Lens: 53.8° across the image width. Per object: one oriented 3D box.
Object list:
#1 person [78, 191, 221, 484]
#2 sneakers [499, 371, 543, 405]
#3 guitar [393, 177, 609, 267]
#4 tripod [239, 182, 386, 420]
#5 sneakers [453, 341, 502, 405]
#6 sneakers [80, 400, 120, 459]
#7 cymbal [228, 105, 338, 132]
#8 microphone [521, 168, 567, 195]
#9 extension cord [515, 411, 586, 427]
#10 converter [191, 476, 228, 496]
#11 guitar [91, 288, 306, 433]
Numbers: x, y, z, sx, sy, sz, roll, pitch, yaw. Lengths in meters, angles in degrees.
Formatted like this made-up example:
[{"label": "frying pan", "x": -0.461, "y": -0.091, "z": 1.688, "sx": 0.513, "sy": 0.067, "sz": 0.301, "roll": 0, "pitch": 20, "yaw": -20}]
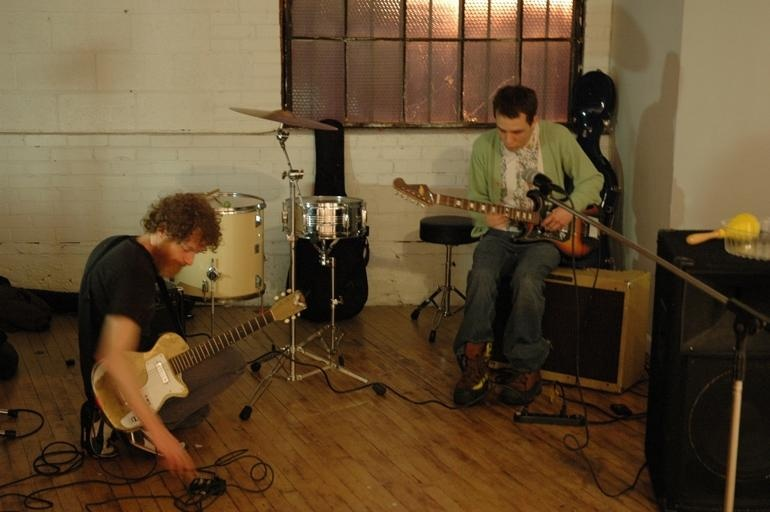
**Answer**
[{"label": "person", "x": -1.306, "y": 0.521, "z": 4.292, "sx": 0.595, "sy": 1.027, "sz": 1.545, "roll": 0, "pitch": -28, "yaw": -25}, {"label": "sneakers", "x": 0.897, "y": 0.835, "z": 4.912, "sx": 0.285, "sy": 0.124, "sz": 0.167, "roll": -19, "pitch": 38, "yaw": -35}, {"label": "guitar", "x": 0.798, "y": -0.228, "z": 4.980, "sx": 1.208, "sy": 0.515, "sz": 0.494, "roll": 0, "pitch": 11, "yaw": 11}, {"label": "tripod", "x": -0.463, "y": 0.103, "z": 5.865, "sx": 1.480, "sy": 1.948, "sz": 1.211, "roll": -1, "pitch": 14, "yaw": -4}, {"label": "sneakers", "x": 0.601, "y": 0.777, "z": 4.915, "sx": 0.172, "sy": 0.485, "sz": 0.221, "roll": 12, "pitch": -21, "yaw": 16}, {"label": "sneakers", "x": -1.633, "y": 0.948, "z": 4.325, "sx": 0.251, "sy": 0.374, "sz": 0.091, "roll": -28, "pitch": -12, "yaw": 39}, {"label": "cymbal", "x": -0.683, "y": -0.914, "z": 5.072, "sx": 0.581, "sy": 0.137, "sz": 0.569, "roll": -5, "pitch": 11, "yaw": -19}, {"label": "microphone", "x": 0.836, "y": -0.409, "z": 4.109, "sx": 0.169, "sy": 0.127, "sz": 0.240, "roll": -5, "pitch": 11, "yaw": -14}, {"label": "extension cord", "x": 1.013, "y": 0.988, "z": 4.647, "sx": 0.328, "sy": 0.042, "sz": 0.152, "roll": 1, "pitch": 1, "yaw": 7}, {"label": "converter", "x": -0.961, "y": 1.243, "z": 4.120, "sx": 0.155, "sy": 0.044, "sz": 0.092, "roll": 1, "pitch": 18, "yaw": -9}, {"label": "guitar", "x": -1.101, "y": 0.638, "z": 4.495, "sx": 0.889, "sy": 0.329, "sz": 0.118, "roll": -26, "pitch": 9, "yaw": -28}]
